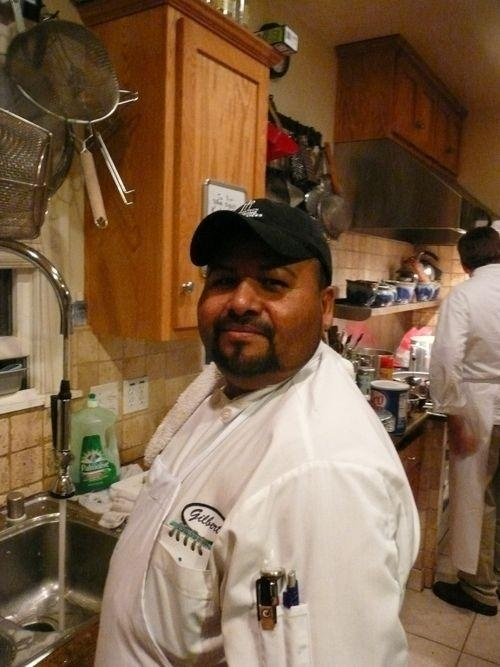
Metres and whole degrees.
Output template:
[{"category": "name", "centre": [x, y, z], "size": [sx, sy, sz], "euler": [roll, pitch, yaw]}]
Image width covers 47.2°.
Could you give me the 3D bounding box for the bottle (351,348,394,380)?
[{"category": "bottle", "centre": [0.588, 0.147, 2.749], "size": [0.172, 0.149, 0.220], "euler": [0, -2, 6]}]
